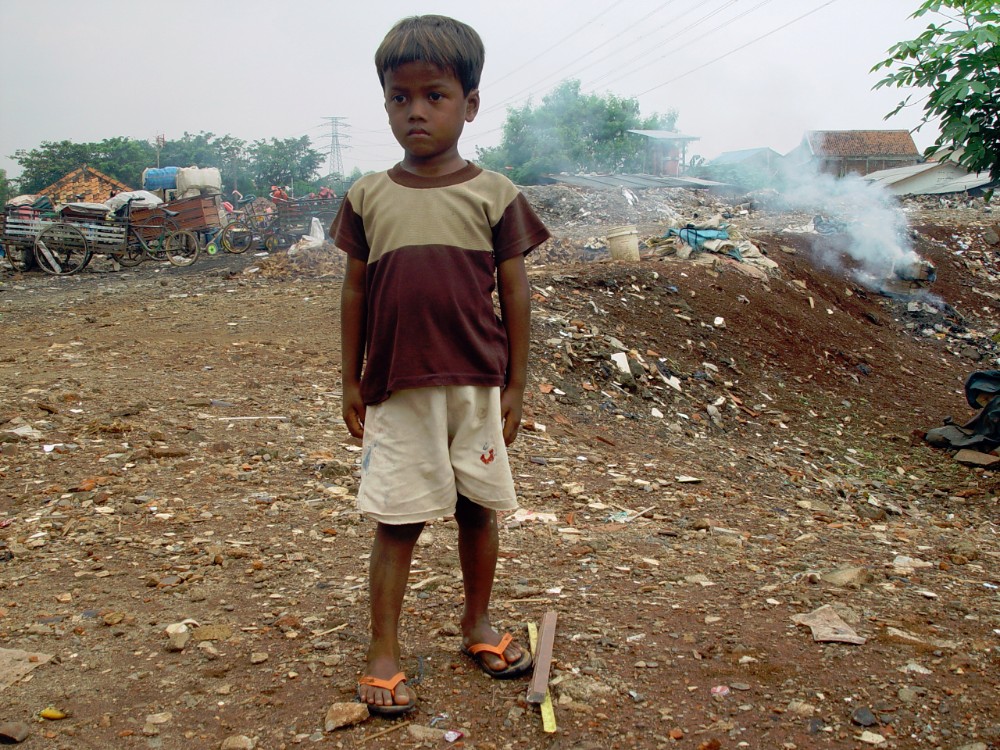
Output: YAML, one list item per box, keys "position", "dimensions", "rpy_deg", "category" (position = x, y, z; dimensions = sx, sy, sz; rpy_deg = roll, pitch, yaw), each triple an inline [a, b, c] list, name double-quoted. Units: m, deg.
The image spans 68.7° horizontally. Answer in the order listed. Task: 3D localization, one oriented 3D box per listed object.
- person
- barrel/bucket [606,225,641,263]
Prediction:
- position: [-0.205, -0.039, 2.508]
  dimensions: [0.793, 2.304, 0.408]
  rpy_deg: [5, 6, -10]
  category: "person"
- position: [1.850, -1.889, 10.519]
  dimensions: [0.633, 0.446, 0.544]
  rpy_deg: [-4, 9, -13]
  category: "barrel/bucket"
